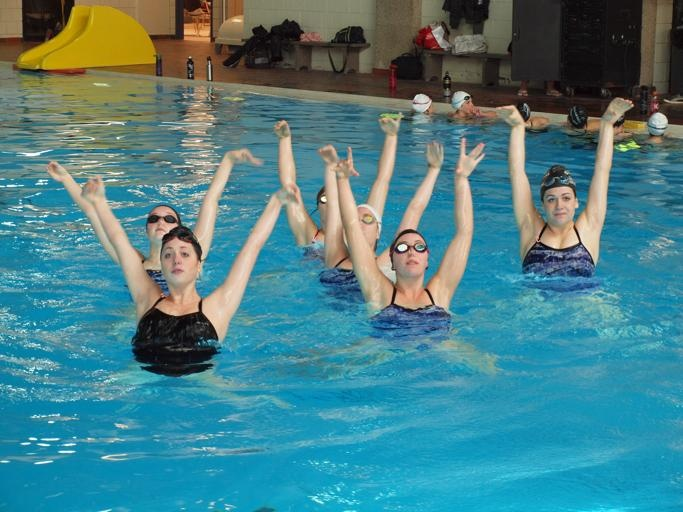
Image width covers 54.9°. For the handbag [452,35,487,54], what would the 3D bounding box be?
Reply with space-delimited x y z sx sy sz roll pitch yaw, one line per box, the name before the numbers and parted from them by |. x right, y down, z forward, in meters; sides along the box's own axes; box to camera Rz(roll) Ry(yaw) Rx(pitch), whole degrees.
handbag | 2.998 -4.977 15.526 0.830 0.211 0.655 2 16 10

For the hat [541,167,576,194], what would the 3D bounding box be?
hat | 1.633 -0.579 5.118 0.302 0.228 0.196 0 56 4

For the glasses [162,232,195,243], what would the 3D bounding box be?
glasses | -0.952 -0.115 3.856 0.185 0.073 0.111 -2 11 -9

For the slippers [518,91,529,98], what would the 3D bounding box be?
slippers | 3.748 -3.342 13.633 0.200 0.079 0.274 0 11 6

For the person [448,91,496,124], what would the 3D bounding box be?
person | 2.315 -2.625 11.613 0.798 0.575 0.787 1 11 7

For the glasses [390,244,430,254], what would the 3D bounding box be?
glasses | 0.422 -0.051 4.174 0.226 0.067 0.096 2 11 10

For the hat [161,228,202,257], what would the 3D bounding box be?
hat | -0.950 -0.075 3.935 0.258 0.167 0.089 2 15 -10

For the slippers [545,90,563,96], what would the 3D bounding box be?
slippers | 4.440 -3.409 13.800 0.369 0.106 0.149 12 23 43

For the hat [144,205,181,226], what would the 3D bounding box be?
hat | -1.374 -0.305 5.060 0.436 0.092 0.357 0 -7 -5

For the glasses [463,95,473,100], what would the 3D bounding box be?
glasses | 2.229 -2.803 11.649 0.085 0.080 0.183 6 12 27

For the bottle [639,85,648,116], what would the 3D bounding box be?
bottle | 5.208 -2.678 11.342 0.145 0.500 0.272 6 14 22

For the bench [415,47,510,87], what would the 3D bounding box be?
bench | 2.920 -4.545 15.876 2.576 0.482 0.637 15 15 32

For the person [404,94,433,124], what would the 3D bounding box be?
person | 1.390 -2.671 11.928 0.526 0.526 1.016 1 10 6

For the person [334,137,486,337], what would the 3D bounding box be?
person | 0.427 -0.104 4.207 0.941 1.263 0.437 -1 14 -5

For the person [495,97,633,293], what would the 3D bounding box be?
person | 1.699 -0.480 5.137 0.862 1.472 0.349 4 15 17

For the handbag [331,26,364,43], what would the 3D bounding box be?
handbag | 0.115 -5.945 17.770 0.582 0.252 0.864 -15 20 -41

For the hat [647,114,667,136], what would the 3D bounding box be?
hat | 4.799 -2.006 10.048 0.269 0.338 0.421 5 12 21

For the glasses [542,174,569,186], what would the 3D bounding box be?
glasses | 1.643 -0.571 5.013 0.211 0.102 0.121 2 12 11

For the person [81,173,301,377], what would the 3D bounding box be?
person | -0.973 0.119 4.074 1.737 1.046 0.524 0 8 28
